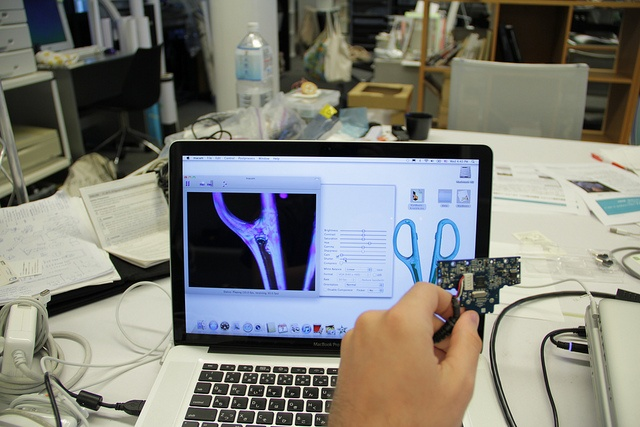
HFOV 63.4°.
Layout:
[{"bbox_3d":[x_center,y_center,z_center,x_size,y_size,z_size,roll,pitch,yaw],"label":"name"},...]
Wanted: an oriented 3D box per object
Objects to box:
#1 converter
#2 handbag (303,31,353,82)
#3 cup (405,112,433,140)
[{"bbox_3d":[-0.784,0.334,1.364,0.075,0.143,0.117,-1,27,-3],"label":"converter"},{"bbox_3d":[0.086,-1.626,5.432,0.485,0.507,0.264,0,26,-2],"label":"handbag"},{"bbox_3d":[0.412,-0.363,2.158,0.098,0.092,0.110,-2,6,-10],"label":"cup"}]
